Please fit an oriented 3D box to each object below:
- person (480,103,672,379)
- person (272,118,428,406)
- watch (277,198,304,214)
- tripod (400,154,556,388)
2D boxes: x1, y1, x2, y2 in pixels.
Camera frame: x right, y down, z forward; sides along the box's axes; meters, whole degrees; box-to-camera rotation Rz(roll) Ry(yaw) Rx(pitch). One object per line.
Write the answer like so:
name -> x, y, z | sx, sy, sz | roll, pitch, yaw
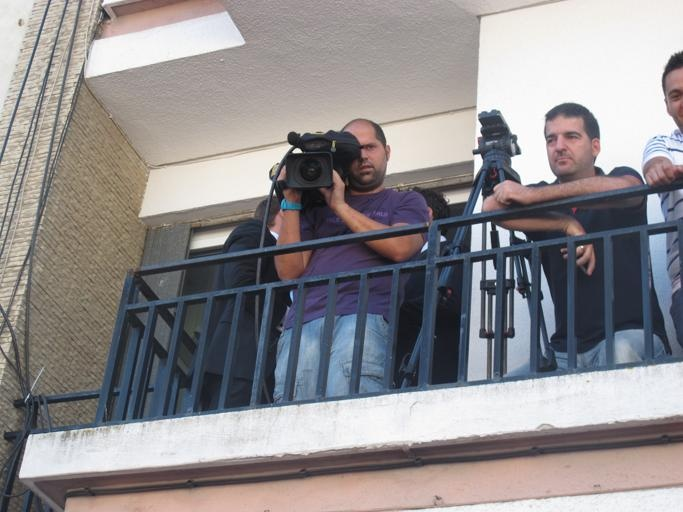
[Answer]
person -> 1.345, -0.034, 6.391 | 0.913, 1.677, 0.999 | -26, -51, 34
person -> 0.047, -0.013, 6.481 | 0.928, 1.844, 0.568 | -2, -27, 3
watch -> -0.305, -0.303, 6.662 | 0.084, 0.081, 0.080 | 6, 6, 5
tripod -> 0.821, 0.138, 6.555 | 0.929, 1.670, 0.875 | 12, -52, 11
